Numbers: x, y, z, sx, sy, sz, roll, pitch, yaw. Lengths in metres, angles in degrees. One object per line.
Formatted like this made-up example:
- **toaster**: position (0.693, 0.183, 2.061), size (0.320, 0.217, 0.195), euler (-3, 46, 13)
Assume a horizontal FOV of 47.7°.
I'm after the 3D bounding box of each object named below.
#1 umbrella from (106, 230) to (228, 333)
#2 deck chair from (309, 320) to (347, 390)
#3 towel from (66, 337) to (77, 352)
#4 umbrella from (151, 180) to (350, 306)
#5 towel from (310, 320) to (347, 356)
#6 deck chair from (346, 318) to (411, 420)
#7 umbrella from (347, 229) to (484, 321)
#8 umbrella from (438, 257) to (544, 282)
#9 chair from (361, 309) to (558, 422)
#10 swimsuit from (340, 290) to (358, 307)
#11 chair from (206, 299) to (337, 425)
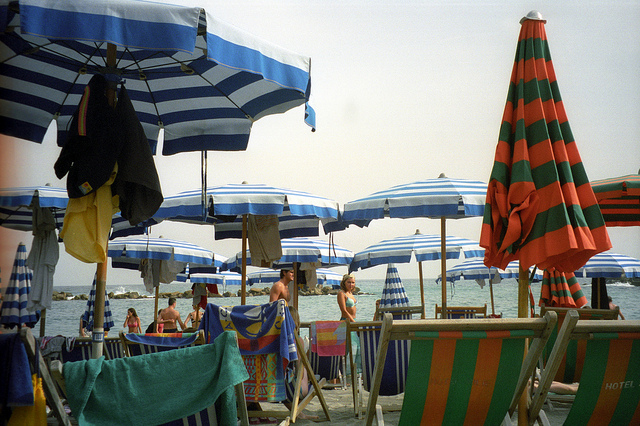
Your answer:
- **umbrella**: position (-3.303, 0.973, 14.960), size (2.012, 1.620, 2.055), euler (0, -12, -2)
- **deck chair**: position (0.079, 2.320, 11.643), size (0.666, 1.256, 0.936), euler (-1, -4, -6)
- **towel**: position (-3.349, 1.732, 9.749), size (0.091, 0.267, 0.086), euler (8, 23, 4)
- **umbrella**: position (-1.136, 0.102, 12.968), size (2.629, 1.907, 2.806), euler (1, -18, -3)
- **towel**: position (0.143, 1.902, 11.145), size (0.499, 0.512, 0.078), euler (-1, 2, 2)
- **deck chair**: position (0.898, 2.275, 11.025), size (0.898, 1.489, 1.488), euler (3, -43, -5)
- **umbrella**: position (2.068, 1.090, 16.314), size (2.124, 1.625, 2.214), euler (-2, -12, 2)
- **umbrella**: position (3.660, 1.221, 15.622), size (1.205, 0.541, 1.272), euler (0, -10, -9)
- **chair**: position (1.648, 1.851, 9.165), size (1.197, 1.415, 1.965), euler (2, -10, -2)
- **swimsuit**: position (0.589, 1.643, 13.846), size (0.157, 0.306, 0.216), euler (-29, -20, 10)
- **chair**: position (-0.672, 2.208, 10.679), size (1.424, 2.071, 2.043), euler (-4, -7, 11)
